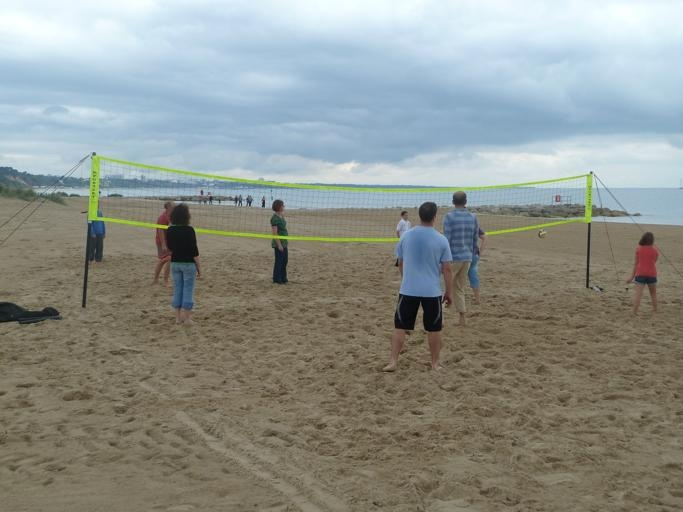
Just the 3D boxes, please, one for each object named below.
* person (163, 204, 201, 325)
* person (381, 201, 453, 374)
[{"bbox_3d":[-2.009,0.100,7.936,0.371,1.545,0.423,-4,15,-15],"label":"person"},{"bbox_3d":[0.834,0.324,6.664,0.677,1.810,0.559,3,15,11],"label":"person"}]
